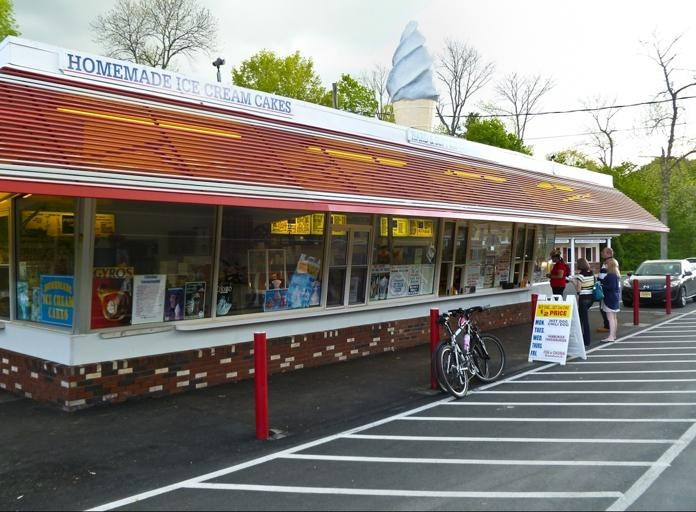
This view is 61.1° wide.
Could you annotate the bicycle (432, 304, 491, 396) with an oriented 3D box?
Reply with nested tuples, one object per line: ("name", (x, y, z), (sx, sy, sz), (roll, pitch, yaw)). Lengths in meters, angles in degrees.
("bicycle", (2.082, 1.831, 11.003), (1.006, 1.700, 1.247), (7, 4, 23))

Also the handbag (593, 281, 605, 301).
("handbag", (6.528, 0.910, 15.335), (0.273, 0.542, 0.511), (-2, -3, 20))
